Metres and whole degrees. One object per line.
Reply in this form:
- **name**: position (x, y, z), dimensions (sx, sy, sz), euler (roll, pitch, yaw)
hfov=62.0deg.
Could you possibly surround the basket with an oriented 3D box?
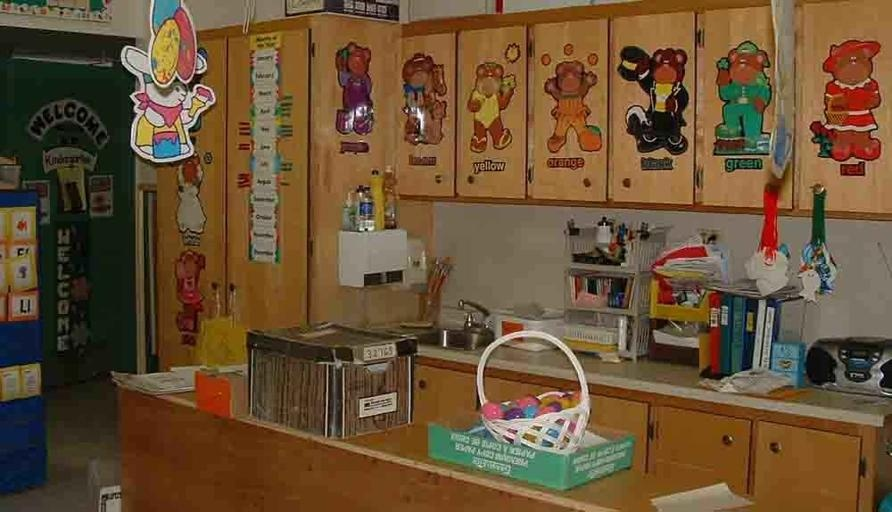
- **basket**: position (0.431, 0.688, 3.670), dimensions (0.509, 0.620, 0.475), euler (-4, -9, 31)

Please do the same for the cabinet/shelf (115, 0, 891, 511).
- **cabinet/shelf**: position (0.554, -0.072, 4.900), dimensions (3.788, 3.499, 1.131), euler (1, 0, 31)

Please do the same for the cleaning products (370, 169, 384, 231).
- **cleaning products**: position (-0.519, -0.438, 5.880), dimensions (0.124, 0.472, 0.120), euler (0, 1, 37)

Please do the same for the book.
- **book**: position (1.927, 0.515, 4.812), dimensions (0.415, 0.525, 0.160), euler (6, 16, 18)
